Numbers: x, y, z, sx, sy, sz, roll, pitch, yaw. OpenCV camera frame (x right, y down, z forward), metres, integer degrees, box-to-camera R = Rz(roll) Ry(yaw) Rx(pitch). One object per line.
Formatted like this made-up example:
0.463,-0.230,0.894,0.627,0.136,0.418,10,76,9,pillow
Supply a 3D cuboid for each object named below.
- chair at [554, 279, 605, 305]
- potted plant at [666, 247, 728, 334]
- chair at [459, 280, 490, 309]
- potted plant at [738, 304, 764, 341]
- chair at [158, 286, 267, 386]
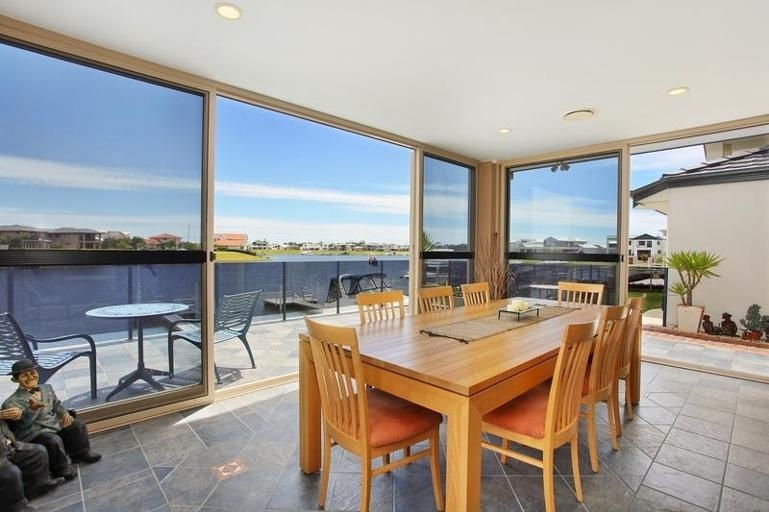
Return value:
2.565,0.468,5.836,0.387,0.515,0.356,6,-7,-41,chair
4.647,0.517,6.719,0.694,1.226,0.801,-2,1,35,potted plant
1.087,0.470,5.248,0.283,0.439,0.328,-1,-1,-44,chair
5.097,0.907,6.193,0.288,0.468,0.279,-2,1,32,potted plant
-2.081,0.866,5.105,0.972,1.098,0.877,4,1,21,chair
